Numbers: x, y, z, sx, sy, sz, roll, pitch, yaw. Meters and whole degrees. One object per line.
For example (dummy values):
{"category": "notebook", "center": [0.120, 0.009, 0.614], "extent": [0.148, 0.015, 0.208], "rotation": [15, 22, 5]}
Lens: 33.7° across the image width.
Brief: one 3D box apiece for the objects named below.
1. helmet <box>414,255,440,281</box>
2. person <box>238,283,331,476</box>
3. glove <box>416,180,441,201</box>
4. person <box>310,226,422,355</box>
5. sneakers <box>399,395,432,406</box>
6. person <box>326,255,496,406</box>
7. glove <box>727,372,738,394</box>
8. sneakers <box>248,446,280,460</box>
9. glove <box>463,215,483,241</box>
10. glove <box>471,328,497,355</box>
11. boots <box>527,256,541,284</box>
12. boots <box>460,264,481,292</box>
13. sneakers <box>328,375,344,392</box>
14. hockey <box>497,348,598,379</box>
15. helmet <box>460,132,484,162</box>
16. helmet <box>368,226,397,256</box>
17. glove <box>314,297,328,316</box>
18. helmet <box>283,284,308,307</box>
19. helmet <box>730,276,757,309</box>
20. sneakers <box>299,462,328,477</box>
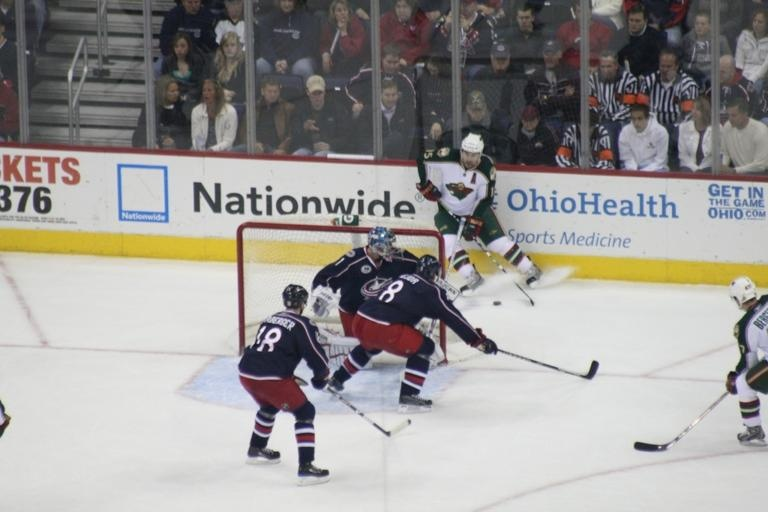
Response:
{"category": "helmet", "center": [0.364, 0.095, 10.618], "extent": [0.166, 0.201, 0.210], "rotation": [10, 16, 31]}
{"category": "person", "center": [-0.705, 0.956, 9.790], "extent": [0.716, 1.419, 0.436], "rotation": [3, 7, 26]}
{"category": "glove", "center": [0.472, -0.654, 12.802], "extent": [0.227, 0.088, 0.169], "rotation": [36, 27, 16]}
{"category": "person", "center": [-0.131, 0.327, 10.883], "extent": [0.817, 0.407, 1.027], "rotation": [-26, -28, -18]}
{"category": "sneakers", "center": [0.251, 1.195, 10.543], "extent": [0.296, 0.126, 0.097], "rotation": [-1, 5, -7]}
{"category": "person", "center": [0.341, 0.614, 10.826], "extent": [1.395, 1.211, 1.131], "rotation": [7, 7, 27]}
{"category": "glove", "center": [2.729, 0.990, 9.968], "extent": [0.045, 0.153, 0.112], "rotation": [5, 11, -1]}
{"category": "sneakers", "center": [-0.929, 1.537, 9.897], "extent": [0.266, 0.122, 0.095], "rotation": [-1, 5, -11]}
{"category": "glove", "center": [0.894, -0.281, 12.789], "extent": [0.161, 0.228, 0.089], "rotation": [15, 17, 19]}
{"category": "glove", "center": [0.842, 0.717, 10.475], "extent": [0.261, 0.143, 0.119], "rotation": [34, -11, -8]}
{"category": "boots", "center": [1.529, 0.149, 12.881], "extent": [0.142, 0.235, 0.385], "rotation": [1, 6, 9]}
{"category": "boots", "center": [0.844, 0.219, 12.585], "extent": [0.171, 0.206, 0.266], "rotation": [-33, 8, -4]}
{"category": "sneakers", "center": [-0.397, 1.062, 10.605], "extent": [0.119, 0.131, 0.098], "rotation": [-38, -28, 24]}
{"category": "hockey", "center": [1.520, 0.948, 10.784], "extent": [0.461, 0.114, 0.462], "rotation": [12, 18, 20]}
{"category": "helmet", "center": [0.893, -1.106, 12.641], "extent": [0.215, 0.261, 0.278], "rotation": [8, 47, 8]}
{"category": "helmet", "center": [-0.015, -0.129, 10.996], "extent": [0.244, 0.243, 0.213], "rotation": [-7, 11, 17]}
{"category": "glove", "center": [-0.543, 0.434, 10.938], "extent": [0.116, 0.131, 0.151], "rotation": [20, -11, 10]}
{"category": "helmet", "center": [-0.686, 0.325, 9.920], "extent": [0.147, 0.178, 0.182], "rotation": [3, 38, 4]}
{"category": "helmet", "center": [2.886, 0.279, 10.164], "extent": [0.201, 0.230, 0.246], "rotation": [-23, -2, -4]}
{"category": "sneakers", "center": [-0.539, 1.618, 9.656], "extent": [0.226, 0.109, 0.097], "rotation": [1, 2, -8]}
